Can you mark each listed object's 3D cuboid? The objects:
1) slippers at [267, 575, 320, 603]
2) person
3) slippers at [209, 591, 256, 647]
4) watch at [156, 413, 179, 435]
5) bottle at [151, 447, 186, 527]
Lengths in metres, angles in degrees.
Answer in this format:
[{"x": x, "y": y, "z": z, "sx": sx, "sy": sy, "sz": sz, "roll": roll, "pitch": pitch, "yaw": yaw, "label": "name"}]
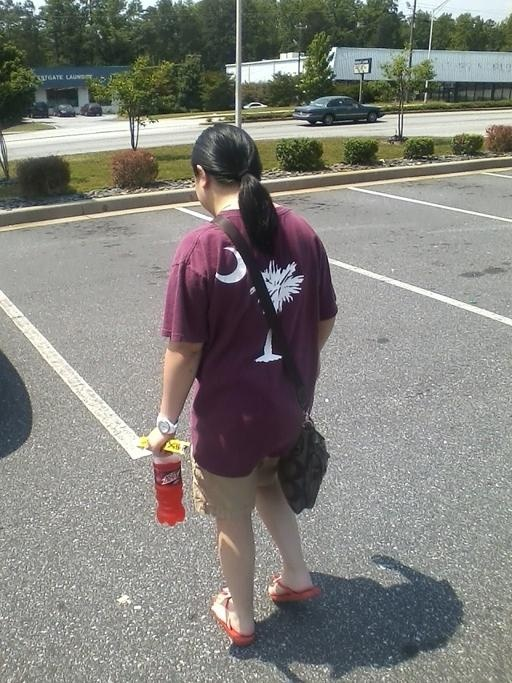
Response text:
[{"x": 0.137, "y": 0.866, "z": 1.917, "sx": 0.163, "sy": 0.056, "sz": 0.091, "roll": -2, "pitch": 3, "yaw": 42, "label": "slippers"}, {"x": -0.020, "y": 0.206, "z": 1.582, "sx": 0.324, "sy": 1.615, "sz": 0.571, "roll": 11, "pitch": 19, "yaw": 41, "label": "person"}, {"x": -0.088, "y": 0.907, "z": 1.807, "sx": 0.090, "sy": 0.057, "sz": 0.206, "roll": -17, "pitch": 29, "yaw": -19, "label": "slippers"}, {"x": -0.244, "y": 0.224, "z": 1.452, "sx": 0.048, "sy": 0.039, "sz": 0.062, "roll": 10, "pitch": 4, "yaw": -9, "label": "watch"}, {"x": -0.248, "y": 0.376, "z": 1.553, "sx": 0.086, "sy": 0.328, "sz": 0.088, "roll": 1, "pitch": 22, "yaw": -1, "label": "bottle"}]
